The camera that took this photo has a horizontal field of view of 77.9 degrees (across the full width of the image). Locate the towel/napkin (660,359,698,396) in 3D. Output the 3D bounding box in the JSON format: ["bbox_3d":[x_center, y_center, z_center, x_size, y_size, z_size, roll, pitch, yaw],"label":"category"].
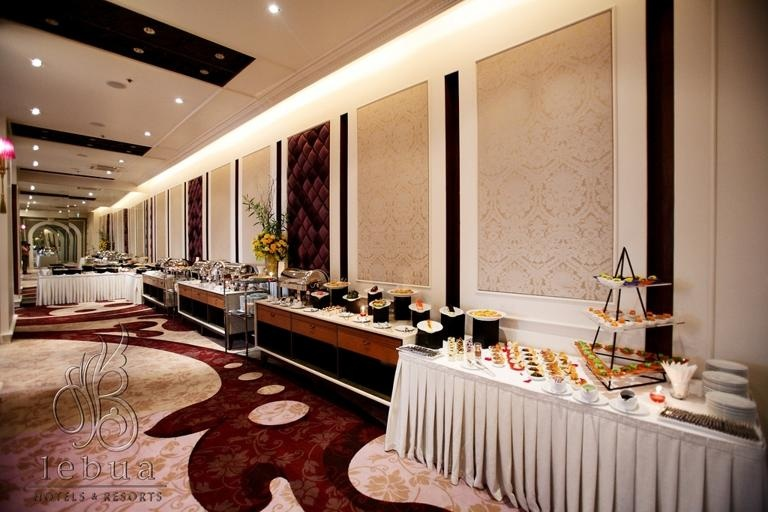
[{"bbox_3d":[2.535,1.051,4.165,0.290,0.272,0.288,2,-6,7],"label":"towel/napkin"}]

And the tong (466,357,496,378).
[{"bbox_3d":[0.908,1.062,4.507,0.102,0.027,0.253,-15,17,-28],"label":"tong"}]

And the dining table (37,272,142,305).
[{"bbox_3d":[-7.269,0.784,11.430,1.874,0.733,0.499,-3,6,-35],"label":"dining table"}]

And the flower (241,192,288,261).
[{"bbox_3d":[-1.861,-0.434,7.485,0.550,1.157,1.373,-1,5,-16],"label":"flower"}]

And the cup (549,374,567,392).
[{"bbox_3d":[1.536,1.131,4.178,0.127,0.120,0.134,1,-15,0],"label":"cup"}]

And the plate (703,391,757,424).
[{"bbox_3d":[2.825,1.198,3.863,0.271,0.107,0.265,2,0,-32],"label":"plate"}]

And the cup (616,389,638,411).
[{"bbox_3d":[2.064,1.221,4.017,0.149,0.132,0.180,5,6,44],"label":"cup"}]

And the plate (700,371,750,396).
[{"bbox_3d":[2.901,1.071,4.009,0.228,0.101,0.246,-1,-4,13],"label":"plate"}]

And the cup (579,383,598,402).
[{"bbox_3d":[1.771,1.182,4.111,0.154,0.113,0.147,0,5,0],"label":"cup"}]
